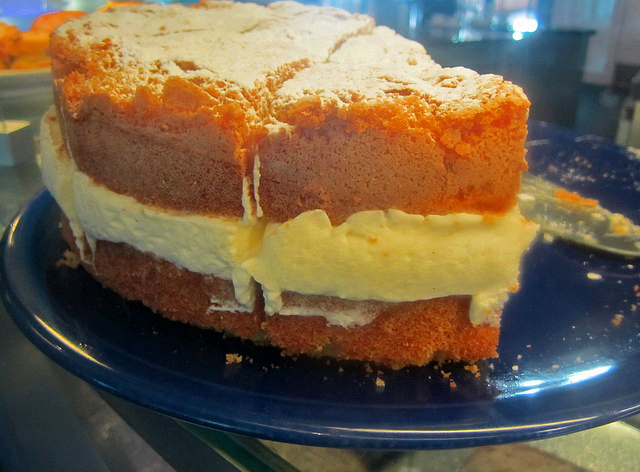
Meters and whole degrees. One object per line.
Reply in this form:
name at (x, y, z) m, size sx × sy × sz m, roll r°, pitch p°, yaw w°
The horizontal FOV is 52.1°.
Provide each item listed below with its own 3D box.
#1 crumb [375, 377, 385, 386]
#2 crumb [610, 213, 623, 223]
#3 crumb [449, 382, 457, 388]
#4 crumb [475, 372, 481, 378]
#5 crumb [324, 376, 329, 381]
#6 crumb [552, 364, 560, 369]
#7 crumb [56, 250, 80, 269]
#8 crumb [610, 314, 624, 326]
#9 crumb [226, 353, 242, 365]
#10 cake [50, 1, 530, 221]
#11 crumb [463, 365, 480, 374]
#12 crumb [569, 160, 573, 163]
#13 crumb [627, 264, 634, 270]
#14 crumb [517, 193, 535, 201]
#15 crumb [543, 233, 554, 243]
crumb at (0.129, 0.314, 1.407) m, size 0.019 × 0.005 × 0.021 m, roll 5°, pitch 18°, yaw -3°
crumb at (0.847, -0.054, 1.866) m, size 0.029 × 0.007 × 0.026 m, roll -10°, pitch 34°, yaw -7°
crumb at (0.285, 0.319, 1.399) m, size 0.016 × 0.004 × 0.016 m, roll 7°, pitch 19°, yaw 5°
crumb at (0.346, 0.303, 1.430) m, size 0.010 × 0.003 × 0.009 m, roll -36°, pitch 56°, yaw -13°
crumb at (0.013, 0.307, 1.414) m, size 0.007 × 0.002 × 0.007 m, roll 3°, pitch 31°, yaw 23°
crumb at (0.523, 0.289, 1.448) m, size 0.015 × 0.004 × 0.015 m, roll 9°, pitch 19°, yaw 10°
crumb at (-0.635, 0.060, 1.663) m, size 0.042 × 0.011 × 0.041 m, roll 32°, pitch 52°, yaw 7°
crumb at (0.718, 0.202, 1.583) m, size 0.024 × 0.006 × 0.025 m, roll -29°, pitch 14°, yaw 33°
crumb at (-0.192, 0.270, 1.440) m, size 0.021 × 0.006 × 0.021 m, roll 21°, pitch 21°, yaw 32°
cake at (-0.090, -0.289, 1.482) m, size 0.912 × 0.240 × 0.685 m, roll 7°, pitch 34°, yaw 14°
crumb at (0.334, 0.292, 1.440) m, size 0.023 × 0.006 × 0.015 m, roll 14°, pitch 19°, yaw 39°
crumb at (0.821, -0.246, 2.139) m, size 0.010 × 0.007 × 0.016 m, roll 13°, pitch 20°, yaw 21°
crumb at (0.825, 0.081, 1.737) m, size 0.013 × 0.003 × 0.012 m, roll -2°, pitch 27°, yaw 1°
crumb at (0.622, -0.118, 1.976) m, size 0.030 × 0.007 × 0.026 m, roll -5°, pitch 18°, yaw -28°
crumb at (0.639, 0.003, 1.830) m, size 0.029 × 0.018 × 0.029 m, roll 16°, pitch 21°, yaw 28°
